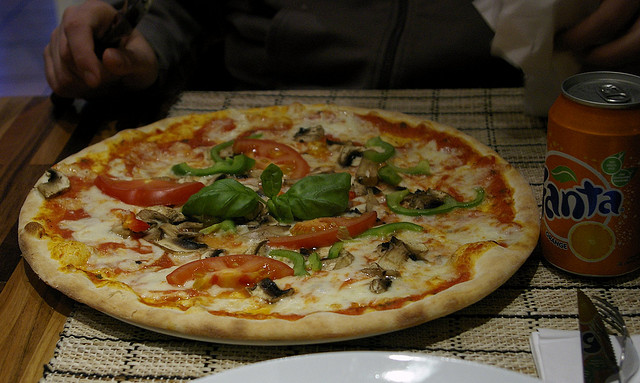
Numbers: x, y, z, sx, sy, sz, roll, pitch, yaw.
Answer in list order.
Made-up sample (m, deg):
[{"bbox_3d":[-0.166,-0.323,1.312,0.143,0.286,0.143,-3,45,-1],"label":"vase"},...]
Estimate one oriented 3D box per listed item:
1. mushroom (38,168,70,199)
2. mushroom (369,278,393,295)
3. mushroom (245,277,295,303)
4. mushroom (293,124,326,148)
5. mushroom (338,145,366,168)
[{"bbox_3d":[-0.913,-0.036,1.982,0.127,0.031,0.081,-3,88,19],"label":"mushroom"},{"bbox_3d":[0.170,0.263,1.630,0.053,0.016,0.063,15,49,16],"label":"mushroom"},{"bbox_3d":[-0.133,0.288,1.654,0.152,0.125,0.035,-8,76,35],"label":"mushroom"},{"bbox_3d":[-0.042,-0.226,2.287,0.126,0.032,0.093,-9,80,0],"label":"mushroom"},{"bbox_3d":[0.107,-0.157,2.199,0.121,0.027,0.095,10,41,23],"label":"mushroom"}]
